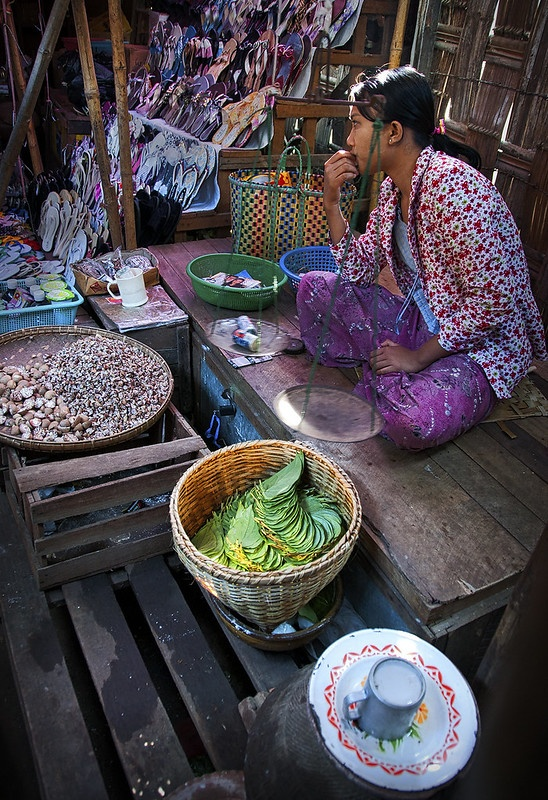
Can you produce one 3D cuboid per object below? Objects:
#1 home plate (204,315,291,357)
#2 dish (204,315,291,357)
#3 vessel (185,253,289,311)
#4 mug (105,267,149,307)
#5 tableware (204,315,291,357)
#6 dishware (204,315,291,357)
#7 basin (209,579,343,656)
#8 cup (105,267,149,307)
[{"bbox_3d":[-0.102,-0.224,1.833,0.197,0.046,0.195,20,37,10],"label":"home plate"},{"bbox_3d":[-0.089,-0.226,1.838,0.197,0.046,0.195,20,37,10],"label":"dish"},{"bbox_3d":[-0.200,-0.636,2.788,0.574,0.218,0.456,20,31,23],"label":"vessel"},{"bbox_3d":[-0.755,-0.617,2.786,0.254,0.213,0.169,-10,43,-12],"label":"mug"},{"bbox_3d":[-0.096,-0.226,1.835,0.197,0.046,0.195,20,37,10],"label":"tableware"},{"bbox_3d":[-0.092,-0.226,1.835,0.197,0.046,0.195,20,37,10],"label":"dishware"},{"bbox_3d":[0.006,0.657,1.614,0.415,0.162,0.232,4,29,-5],"label":"basin"},{"bbox_3d":[-0.751,-0.605,2.790,0.254,0.213,0.169,-10,43,-12],"label":"cup"}]
